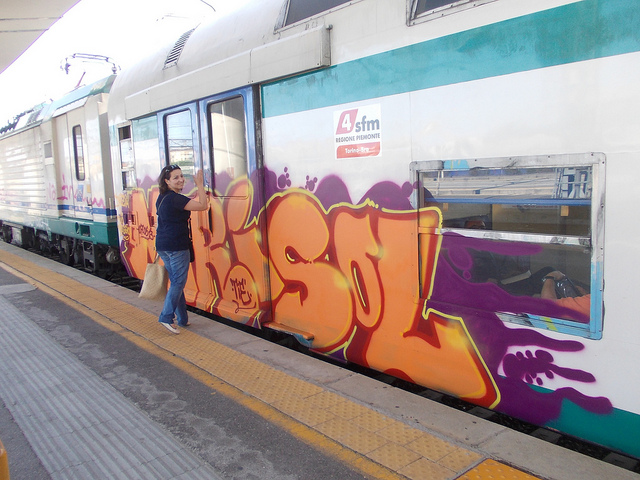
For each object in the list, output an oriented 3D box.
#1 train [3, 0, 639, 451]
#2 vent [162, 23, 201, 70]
[{"bbox_3d":[0.081,-0.307,3.432,4.370,2.714,0.466,7,14,36],"label":"train"},{"bbox_3d":[-1.795,-2.411,5.039,0.482,0.448,0.269,9,16,44],"label":"vent"}]
